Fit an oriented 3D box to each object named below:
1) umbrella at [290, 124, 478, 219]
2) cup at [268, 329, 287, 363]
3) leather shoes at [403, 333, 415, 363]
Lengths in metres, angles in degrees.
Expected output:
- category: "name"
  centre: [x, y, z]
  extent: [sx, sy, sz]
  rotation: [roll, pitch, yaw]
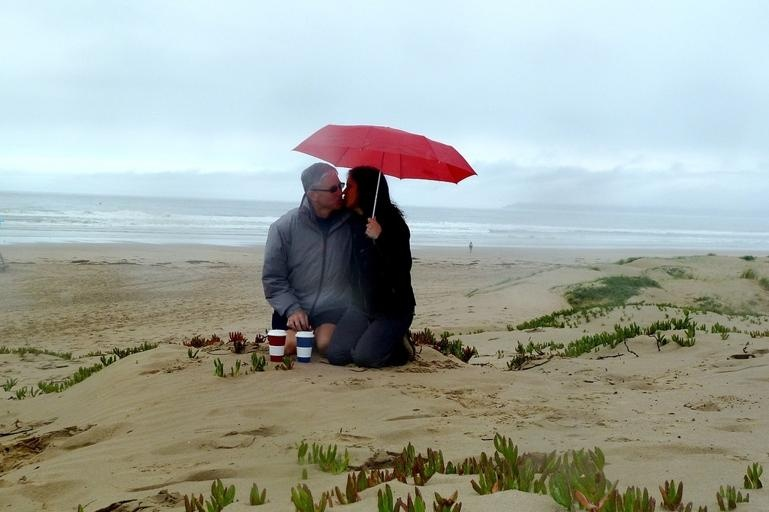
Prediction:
- category: "umbrella"
  centre: [-0.108, -1.108, 8.849]
  extent: [2.409, 1.313, 2.223]
  rotation: [10, -4, -3]
- category: "cup"
  centre: [-1.465, 1.236, 8.653]
  extent: [0.216, 0.441, 0.350]
  rotation: [-2, 13, -8]
- category: "leather shoes"
  centre: [0.360, 1.331, 9.177]
  extent: [0.151, 0.448, 0.202]
  rotation: [-11, -17, 3]
